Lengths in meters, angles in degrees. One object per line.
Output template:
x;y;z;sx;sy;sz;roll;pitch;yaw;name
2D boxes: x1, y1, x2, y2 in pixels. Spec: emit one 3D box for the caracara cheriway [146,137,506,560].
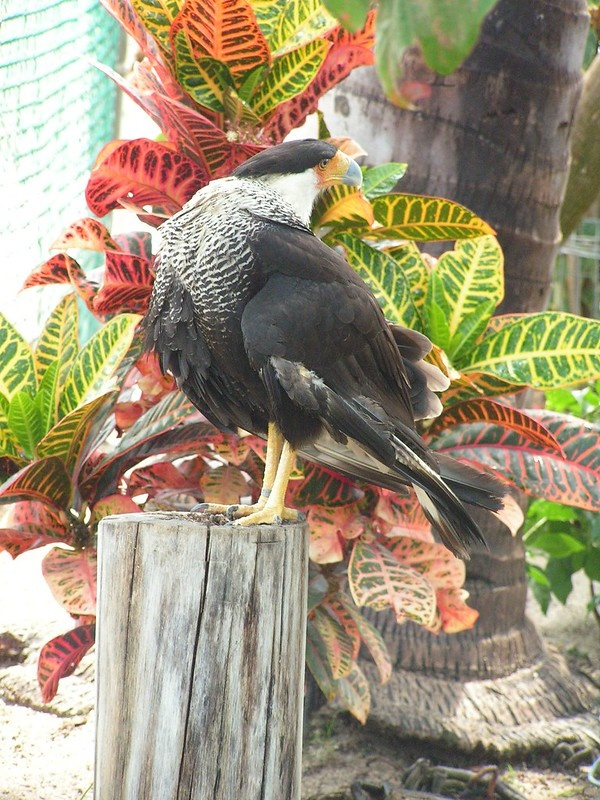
0.055;-0.136;2.862;1.182;0.910;0.621;10;-3;-27;caracara cheriway
